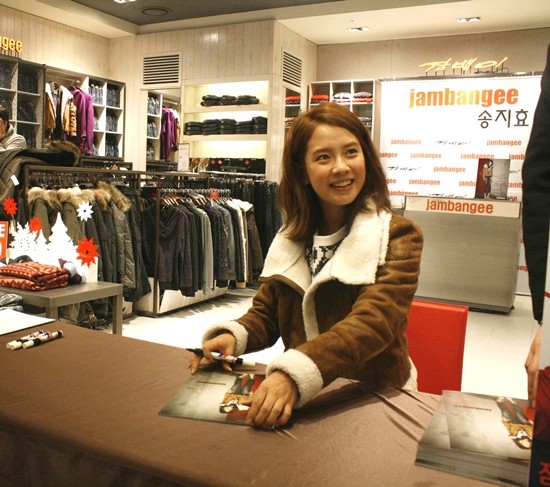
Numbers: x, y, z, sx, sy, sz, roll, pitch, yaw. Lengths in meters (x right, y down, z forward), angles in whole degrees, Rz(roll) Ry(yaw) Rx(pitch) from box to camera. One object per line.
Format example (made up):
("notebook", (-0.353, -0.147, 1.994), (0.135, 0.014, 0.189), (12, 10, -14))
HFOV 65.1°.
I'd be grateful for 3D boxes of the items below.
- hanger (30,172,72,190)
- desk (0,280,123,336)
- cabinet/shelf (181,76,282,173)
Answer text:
("hanger", (-2.049, -0.577, 3.949), (0.351, 0.159, 0.703), (-4, 9, -25))
("desk", (-1.457, 0.343, 2.966), (0.553, 0.581, 0.536), (2, 0, 33))
("cabinet/shelf", (-0.685, -1.992, 7.222), (2.082, 2.186, 0.739), (1, 5, 2))
